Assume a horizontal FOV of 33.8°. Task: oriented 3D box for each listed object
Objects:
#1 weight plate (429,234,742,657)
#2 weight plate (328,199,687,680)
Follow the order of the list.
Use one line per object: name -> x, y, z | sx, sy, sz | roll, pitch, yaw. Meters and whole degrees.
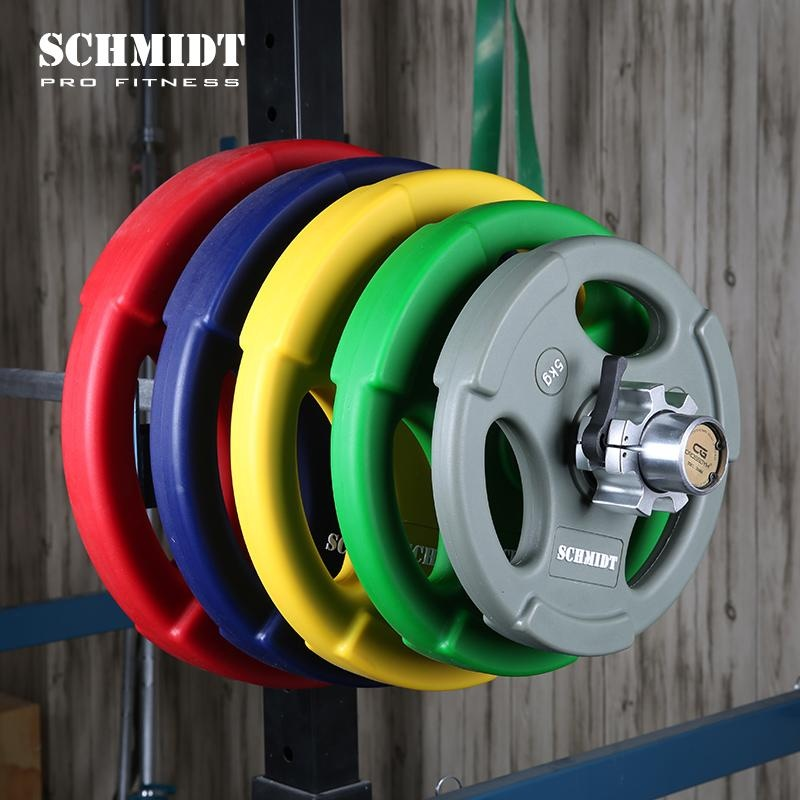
weight plate -> 0.184, 0.038, 1.204 | 0.234, 0.430, 0.114 | 3, 28, 7
weight plate -> 0.162, 0.045, 1.306 | 0.295, 0.443, 0.320 | -17, 11, -31
